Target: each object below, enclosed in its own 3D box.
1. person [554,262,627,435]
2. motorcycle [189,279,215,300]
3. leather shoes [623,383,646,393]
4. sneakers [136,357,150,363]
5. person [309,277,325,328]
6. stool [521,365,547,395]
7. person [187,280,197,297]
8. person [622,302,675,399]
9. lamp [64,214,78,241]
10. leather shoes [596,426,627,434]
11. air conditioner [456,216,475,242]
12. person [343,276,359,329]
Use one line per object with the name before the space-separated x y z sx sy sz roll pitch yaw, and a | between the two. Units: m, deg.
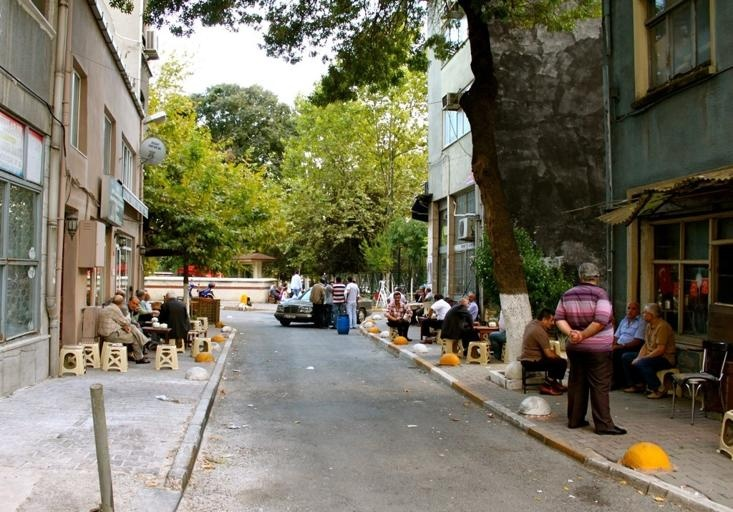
person | 3.478 1.411 10.015 0.961 2.547 0.971 -1 2 -38
motorcycle | -9.855 2.015 38.805 1.649 1.046 0.901 3 -5 7
leather shoes | 5.099 2.501 12.263 0.382 0.170 0.144 1 -4 6
sneakers | -5.084 2.385 14.761 0.337 0.155 0.131 -2 -1 -2
person | -1.983 1.995 26.850 0.595 1.934 0.778 -1 1 -13
stool | 3.255 2.417 12.597 0.457 0.655 0.648 0 -1 -1
person | -10.387 1.962 38.587 0.441 0.601 1.719 15 3 -14
person | 5.260 1.721 11.948 0.855 1.656 0.760 -3 -1 25
lamp | -6.326 -0.617 13.848 0.339 0.476 0.236 0 1 31
leather shoes | 3.656 2.601 9.647 0.438 0.149 0.172 -1 -2 -1
air conditioner | 3.697 -1.019 23.519 0.490 0.879 0.735 0 0 1
person | -0.592 1.908 26.054 0.548 2.059 1.329 -1 0 -2
